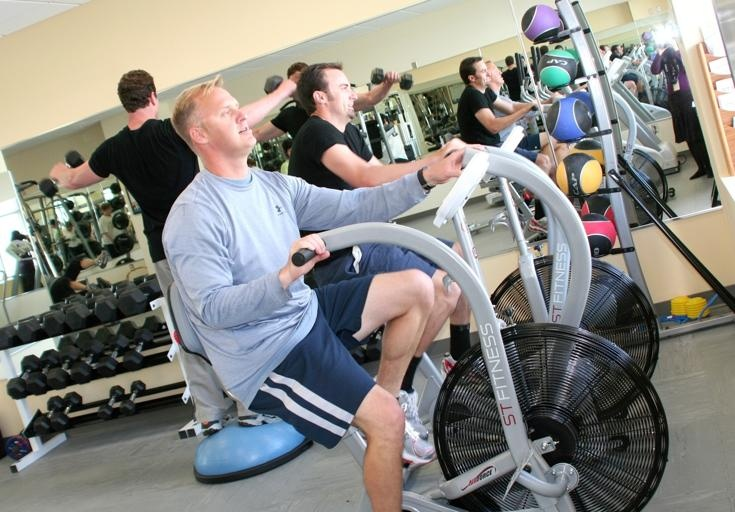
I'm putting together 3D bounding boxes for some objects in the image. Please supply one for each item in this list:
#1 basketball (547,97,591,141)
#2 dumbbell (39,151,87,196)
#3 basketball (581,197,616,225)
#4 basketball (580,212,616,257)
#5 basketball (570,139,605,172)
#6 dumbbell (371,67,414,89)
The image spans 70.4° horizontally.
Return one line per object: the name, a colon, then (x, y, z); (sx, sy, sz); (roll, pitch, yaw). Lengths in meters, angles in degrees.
basketball: (1.109, -0.735, 2.833); (0.205, 0.233, 0.245); (4, 15, 19)
dumbbell: (-2.094, -0.577, 3.563); (0.439, 0.155, 0.184); (-56, 15, 4)
basketball: (1.324, -0.265, 3.020); (0.146, 0.182, 0.154); (-6, 7, -3)
basketball: (1.287, -0.118, 2.867); (0.160, 0.240, 0.199); (-12, 11, 26)
basketball: (1.297, -0.587, 3.065); (0.143, 0.154, 0.198); (-4, 20, -1)
dumbbell: (0.169, -1.122, 3.297); (0.266, 0.146, 0.137); (1, 6, -17)
